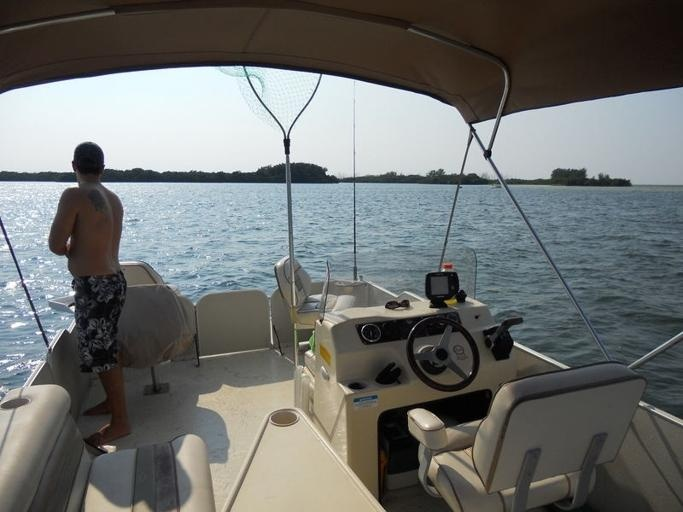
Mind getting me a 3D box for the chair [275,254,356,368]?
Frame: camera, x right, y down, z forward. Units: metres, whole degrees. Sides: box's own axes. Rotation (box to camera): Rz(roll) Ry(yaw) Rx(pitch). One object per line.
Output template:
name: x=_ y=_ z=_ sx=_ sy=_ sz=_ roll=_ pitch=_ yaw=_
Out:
chair: x=-0.251 y=0.299 z=3.863 sx=0.668 sy=0.812 sz=0.563 roll=-2 pitch=18 yaw=-7
